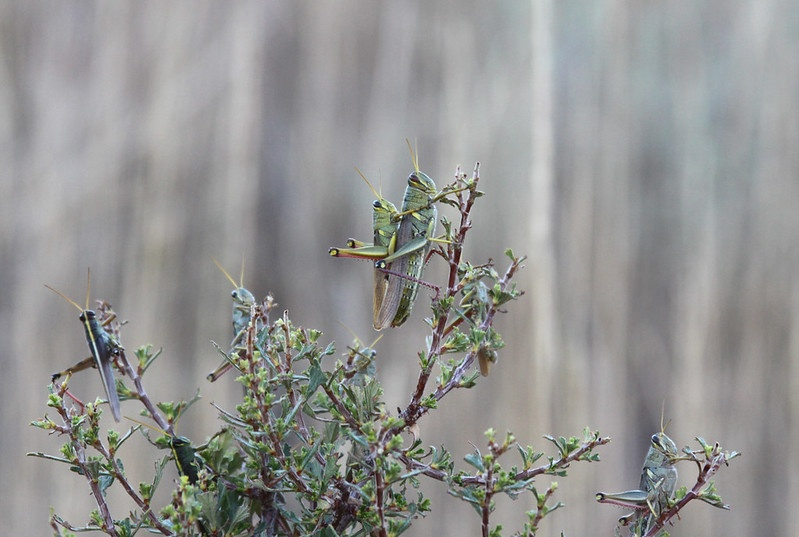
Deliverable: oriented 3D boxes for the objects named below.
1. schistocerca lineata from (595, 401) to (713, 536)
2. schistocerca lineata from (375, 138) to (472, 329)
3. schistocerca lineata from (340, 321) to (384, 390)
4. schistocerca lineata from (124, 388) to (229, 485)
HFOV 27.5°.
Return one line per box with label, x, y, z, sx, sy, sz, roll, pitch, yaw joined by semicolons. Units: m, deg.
schistocerca lineata;0.906;0.753;5.826;0.406;0.448;0.308;-29;-32;36
schistocerca lineata;0.071;-0.133;5.880;0.236;0.638;0.297;14;5;-3
schistocerca lineata;-0.092;0.294;5.847;0.181;0.199;0.103;-2;-44;39
schistocerca lineata;-0.768;0.594;5.747;0.211;0.306;0.116;-22;-9;8
